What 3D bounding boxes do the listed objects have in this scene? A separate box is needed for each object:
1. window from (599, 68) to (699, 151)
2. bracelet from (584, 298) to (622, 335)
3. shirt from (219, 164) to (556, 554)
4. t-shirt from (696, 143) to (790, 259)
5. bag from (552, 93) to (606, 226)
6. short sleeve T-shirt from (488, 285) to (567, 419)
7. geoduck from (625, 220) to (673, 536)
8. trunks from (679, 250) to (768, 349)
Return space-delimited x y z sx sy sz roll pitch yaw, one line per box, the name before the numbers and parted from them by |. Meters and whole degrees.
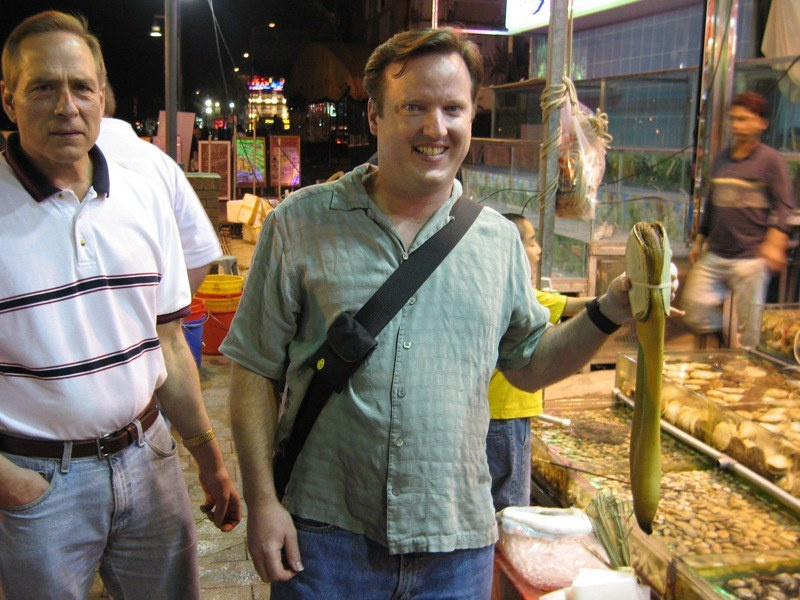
window | 2.681 -2.138 7.114 1.371 1.070 0.098 -9 13 -29
bracelet | 0.632 0.059 2.037 0.106 0.103 0.051 25 -33 -23
shirt | 0.013 0.174 2.160 1.083 1.316 0.630 3 -1 -10
t-shirt | 3.101 -0.885 5.758 0.454 0.959 0.825 -11 14 -33
bag | 1.144 -0.908 4.276 0.413 0.716 0.312 -2 15 -10
short sleeve T-shirt | 0.666 0.322 3.474 0.571 0.704 0.254 -8 38 -14
geoduck | 0.723 0.257 1.924 0.134 0.972 0.237 4 10 21
trunks | 2.959 -0.012 5.833 0.799 0.619 1.823 -6 11 27
